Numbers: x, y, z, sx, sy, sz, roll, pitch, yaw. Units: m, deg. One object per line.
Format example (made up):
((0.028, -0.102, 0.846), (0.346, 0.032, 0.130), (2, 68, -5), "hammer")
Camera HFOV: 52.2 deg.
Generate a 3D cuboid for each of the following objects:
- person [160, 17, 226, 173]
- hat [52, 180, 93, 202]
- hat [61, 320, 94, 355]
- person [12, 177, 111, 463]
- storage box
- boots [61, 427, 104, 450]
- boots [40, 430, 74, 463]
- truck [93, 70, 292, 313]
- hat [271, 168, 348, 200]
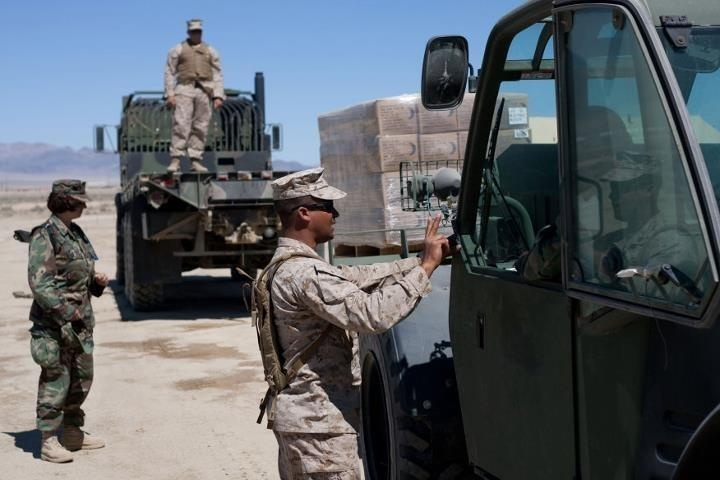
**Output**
((-2.328, -1.905, 10.462), (0.806, 1.816, 0.418), (-1, 3, -20), "person")
((-2.067, -0.363, 5.274), (0.209, 0.122, 0.181), (4, 6, -15), "hat")
((-1.981, 0.689, 5.188), (0.077, 0.245, 0.243), (2, 4, 33), "hat")
((-2.075, 0.562, 5.221), (0.307, 1.972, 0.498), (2, 3, 35), "person")
((0.420, -0.922, 8.785), (1.388, 1.819, 2.658), (-2, 3, -18), "storage box")
((-2.029, 1.461, 5.469), (0.311, 0.205, 0.150), (-3, 5, -16), "boots")
((-2.087, 1.470, 5.183), (0.318, 0.230, 0.123), (2, -2, 8), "boots")
((-2.575, -0.777, 12.285), (3.036, 3.367, 5.249), (-1, 7, -16), "truck")
((-0.237, -0.236, 3.318), (0.256, 0.112, 0.184), (-1, 6, -7), "hat")
